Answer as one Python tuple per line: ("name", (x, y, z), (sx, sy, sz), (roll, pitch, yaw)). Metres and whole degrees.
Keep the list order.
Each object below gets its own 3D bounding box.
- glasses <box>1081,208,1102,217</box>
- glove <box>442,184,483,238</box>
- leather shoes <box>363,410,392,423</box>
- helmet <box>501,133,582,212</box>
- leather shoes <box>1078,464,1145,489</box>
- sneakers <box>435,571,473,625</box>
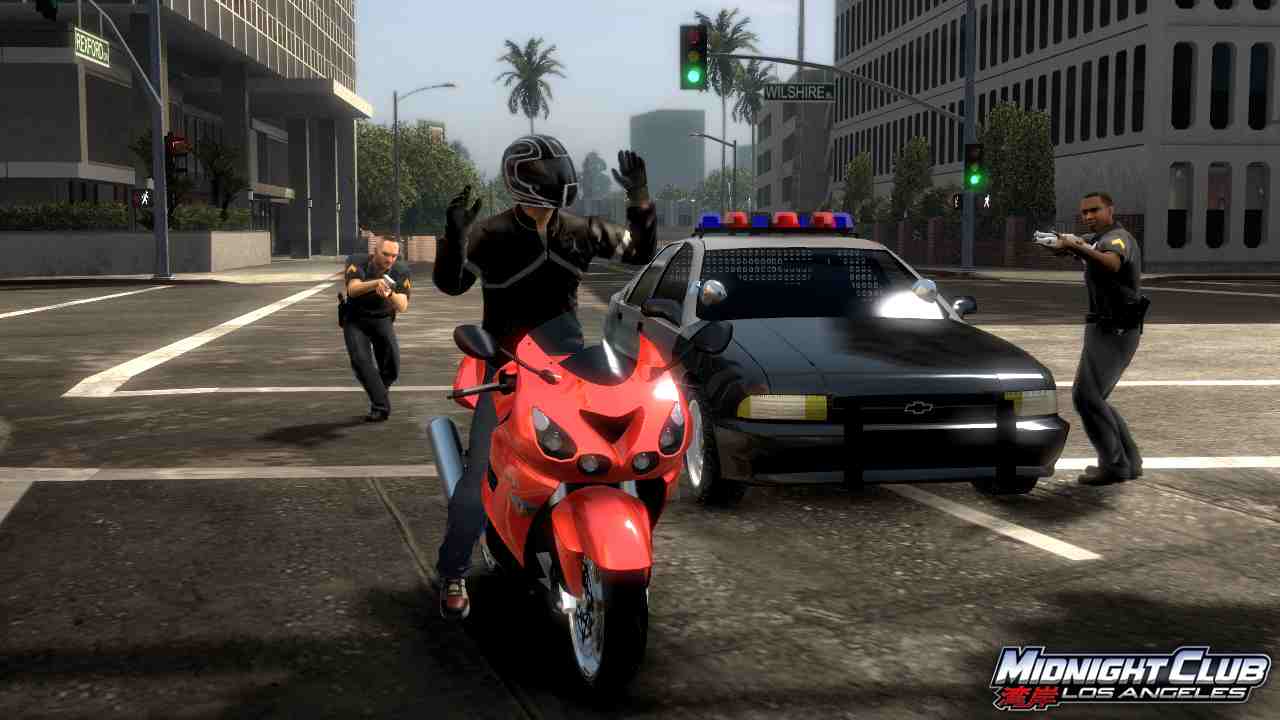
("glasses", (4.466, -1.464, 9.647), (0.183, 0.091, 0.136), (10, 15, 43))
("glove", (-1.095, -0.924, 5.935), (0.168, 0.068, 0.260), (22, -9, 6))
("leather shoes", (-3.241, 0.686, 11.885), (0.291, 0.129, 0.328), (-4, 11, -19))
("helmet", (-0.629, -1.235, 6.214), (0.588, 0.413, 0.442), (19, 27, 40))
("leather shoes", (4.507, 1.130, 9.323), (0.456, 0.172, 0.251), (-9, 12, 2))
("sneakers", (-1.235, 1.606, 6.443), (0.160, 0.163, 0.388), (-1, 8, -14))
